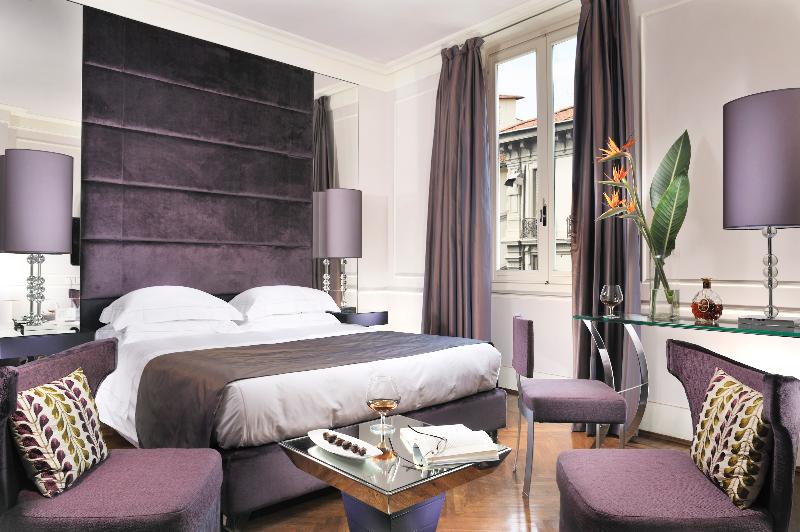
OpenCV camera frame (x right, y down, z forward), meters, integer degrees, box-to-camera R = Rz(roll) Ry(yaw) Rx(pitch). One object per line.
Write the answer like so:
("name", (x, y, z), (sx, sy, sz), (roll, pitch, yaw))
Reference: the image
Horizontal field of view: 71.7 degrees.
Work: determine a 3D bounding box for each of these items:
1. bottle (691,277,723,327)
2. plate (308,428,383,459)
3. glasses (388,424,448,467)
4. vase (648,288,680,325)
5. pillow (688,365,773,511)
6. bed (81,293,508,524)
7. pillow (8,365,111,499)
("bottle", (1.916, 0.219, 3.458), (0.149, 0.273, 0.368), (0, 1, 28))
("plate", (-0.301, 0.867, 2.804), (0.143, 0.048, 0.340), (0, 1, -42))
("glasses", (0.122, 0.914, 2.815), (0.163, 0.046, 0.167), (-9, 20, -13))
("vase", (1.867, 0.286, 3.899), (0.207, 0.240, 0.212), (-1, -3, 19))
("pillow", (1.562, 0.831, 2.598), (0.161, 0.487, 0.470), (10, -18, -3))
("bed", (-1.049, 0.828, 3.783), (1.699, 0.469, 1.574), (1, 1, -43))
("pillow", (-1.656, 0.819, 2.664), (0.267, 0.478, 0.525), (5, 9, 12))
